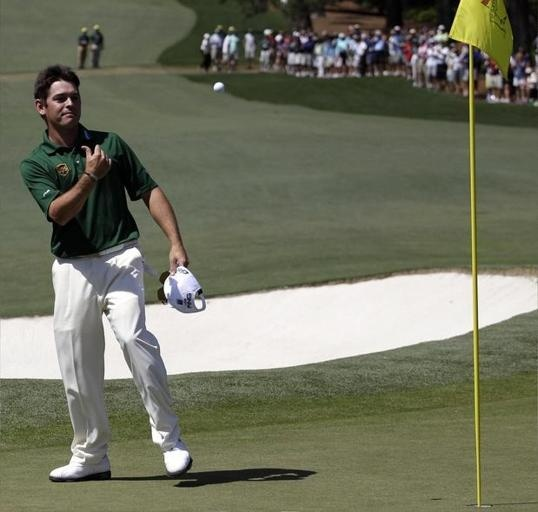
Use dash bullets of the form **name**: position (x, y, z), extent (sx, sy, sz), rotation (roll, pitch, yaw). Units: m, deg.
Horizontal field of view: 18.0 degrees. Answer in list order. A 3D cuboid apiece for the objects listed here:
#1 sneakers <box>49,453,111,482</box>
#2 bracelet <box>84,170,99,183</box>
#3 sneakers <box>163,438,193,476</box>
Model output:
- **sneakers**: position (-1.674, 1.856, 14.979), extent (0.452, 0.236, 0.236), rotation (3, -7, -13)
- **bracelet**: position (-1.546, -0.707, 14.684), extent (0.092, 0.028, 0.099), rotation (36, -5, 38)
- **sneakers**: position (-0.807, 1.765, 14.924), extent (0.236, 0.293, 0.195), rotation (-4, 10, -13)
